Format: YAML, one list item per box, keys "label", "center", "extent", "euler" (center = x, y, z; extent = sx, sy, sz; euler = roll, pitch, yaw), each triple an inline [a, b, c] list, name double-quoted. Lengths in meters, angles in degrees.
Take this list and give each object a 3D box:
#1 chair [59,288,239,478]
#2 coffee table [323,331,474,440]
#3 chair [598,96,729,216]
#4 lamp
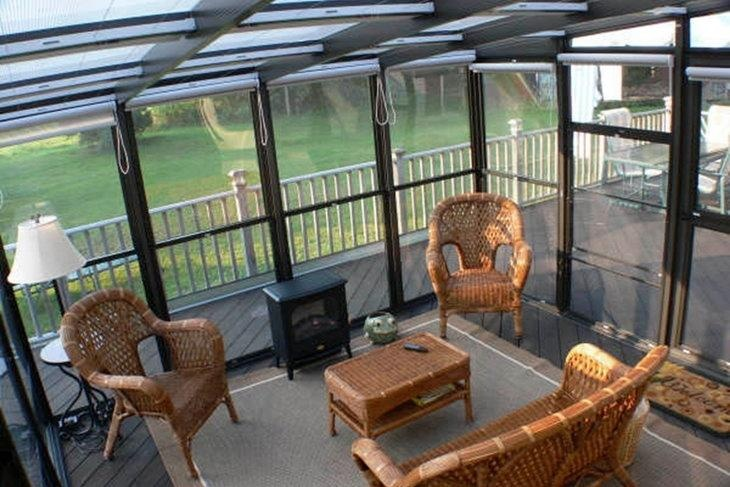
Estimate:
- label: "chair"
  center: [-2.001, 1.312, 4.507]
  extent: [1.059, 1.268, 1.049]
  euler: [7, 29, 15]
- label: "coffee table"
  center: [0.324, 1.339, 4.486]
  extent: [1.157, 0.631, 0.720]
  euler: [-13, 17, -28]
- label: "chair"
  center: [2.865, -0.751, 4.652]
  extent: [1.004, 0.631, 1.012]
  euler: [19, 44, 42]
- label: "lamp"
  center: [-2.708, 0.038, 4.178]
  extent: [0.446, 0.507, 0.417]
  euler: [3, 20, 25]
